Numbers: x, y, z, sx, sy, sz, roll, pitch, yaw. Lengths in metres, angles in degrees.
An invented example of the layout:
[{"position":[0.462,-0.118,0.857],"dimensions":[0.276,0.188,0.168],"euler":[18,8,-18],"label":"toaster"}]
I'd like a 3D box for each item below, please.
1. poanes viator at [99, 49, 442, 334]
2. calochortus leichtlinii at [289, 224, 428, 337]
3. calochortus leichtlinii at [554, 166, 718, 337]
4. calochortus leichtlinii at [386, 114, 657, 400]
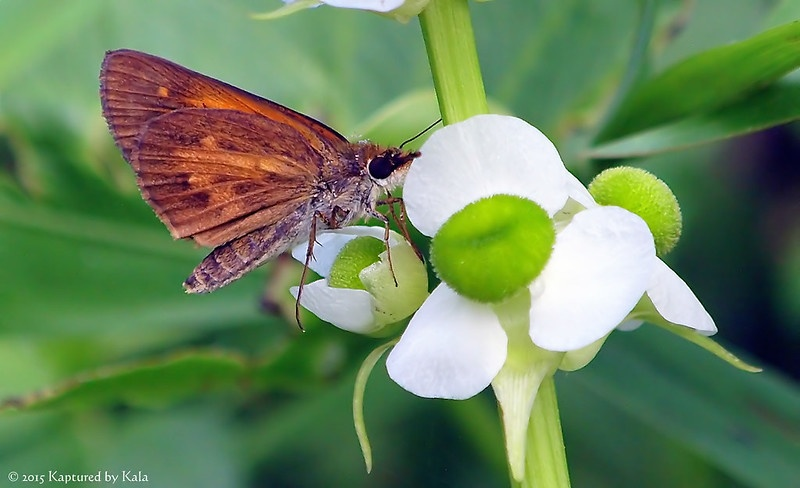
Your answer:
[{"position":[-0.152,-0.098,0.924],"dimensions":[0.407,0.188,0.332],"euler":[-7,90,-9],"label":"poanes viator"},{"position":[-0.042,0.051,0.779],"dimensions":[0.163,0.140,0.089],"euler":[-24,109,-4],"label":"calochortus leichtlinii"},{"position":[0.262,-0.018,0.779],"dimensions":[0.175,0.172,0.070],"euler":[45,50,-1],"label":"calochortus leichtlinii"},{"position":[0.097,0.020,0.694],"dimensions":[0.278,0.094,0.243],"euler":[-26,75,7],"label":"calochortus leichtlinii"}]
